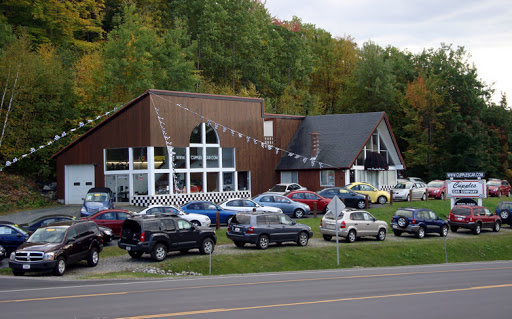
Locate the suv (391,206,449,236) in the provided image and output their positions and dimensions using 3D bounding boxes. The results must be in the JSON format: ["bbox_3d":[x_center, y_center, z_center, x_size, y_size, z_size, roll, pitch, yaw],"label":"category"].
[{"bbox_3d":[15.490,5.924,53.382,5.984,2.648,2.879,2,0,-39],"label":"suv"}]

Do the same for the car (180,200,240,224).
[{"bbox_3d":[-4.259,5.291,51.504,7.219,2.816,3.350,1,-3,-16],"label":"car"}]

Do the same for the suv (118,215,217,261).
[{"bbox_3d":[-6.668,5.960,43.801,7.003,3.074,3.364,-4,3,-39],"label":"suv"}]

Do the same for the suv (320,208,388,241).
[{"bbox_3d":[8.898,5.837,50.646,6.343,2.937,3.269,2,0,-36],"label":"suv"}]

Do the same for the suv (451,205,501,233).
[{"bbox_3d":[22.078,5.997,56.900,5.727,2.607,2.945,2,0,-36],"label":"suv"}]

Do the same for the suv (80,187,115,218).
[{"bbox_3d":[-15.441,4.316,55.441,2.776,2.659,5.681,1,7,-7],"label":"suv"}]

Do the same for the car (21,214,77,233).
[{"bbox_3d":[-16.923,5.521,45.897,5.402,1.925,2.731,2,-4,-30],"label":"car"}]

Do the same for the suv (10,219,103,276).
[{"bbox_3d":[-14.183,6.291,40.572,5.800,3.811,1.921,3,-7,-25],"label":"suv"}]

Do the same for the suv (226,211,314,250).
[{"bbox_3d":[1.362,5.886,47.569,7.266,2.925,3.201,2,-2,-40],"label":"suv"}]

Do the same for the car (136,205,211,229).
[{"bbox_3d":[-6.667,5.365,49.021,8.275,2.626,3.734,1,-2,-13],"label":"car"}]
